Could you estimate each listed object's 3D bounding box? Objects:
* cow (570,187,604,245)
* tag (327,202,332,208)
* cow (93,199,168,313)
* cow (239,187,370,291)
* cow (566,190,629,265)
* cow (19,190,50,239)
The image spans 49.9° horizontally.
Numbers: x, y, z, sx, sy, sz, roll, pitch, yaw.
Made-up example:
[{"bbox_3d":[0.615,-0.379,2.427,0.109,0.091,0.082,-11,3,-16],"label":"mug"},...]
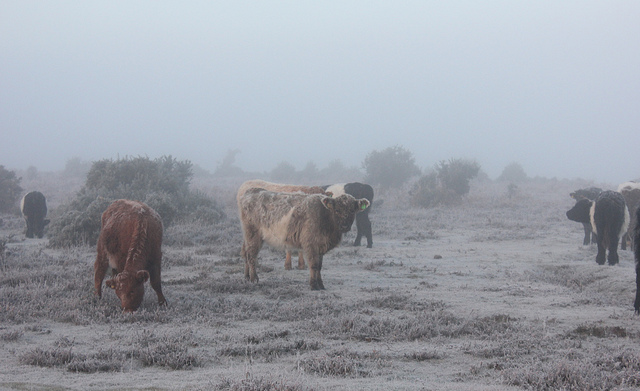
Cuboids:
[{"bbox_3d":[12.161,0.672,30.463,1.300,2.565,3.172,0,4,0],"label":"cow"},{"bbox_3d":[0.323,0.339,22.674,0.126,0.142,0.036,2,-4,0],"label":"tag"},{"bbox_3d":[-5.871,1.820,21.142,2.093,3.442,1.610,-1,-5,32],"label":"cow"},{"bbox_3d":[-0.734,1.462,23.691,4.360,3.441,2.063,3,4,18],"label":"cow"},{"bbox_3d":[10.873,1.020,27.031,1.352,1.973,3.628,0,3,12],"label":"cow"},{"bbox_3d":[-12.580,0.861,30.303,1.048,2.073,1.381,3,-4,-18],"label":"cow"}]
